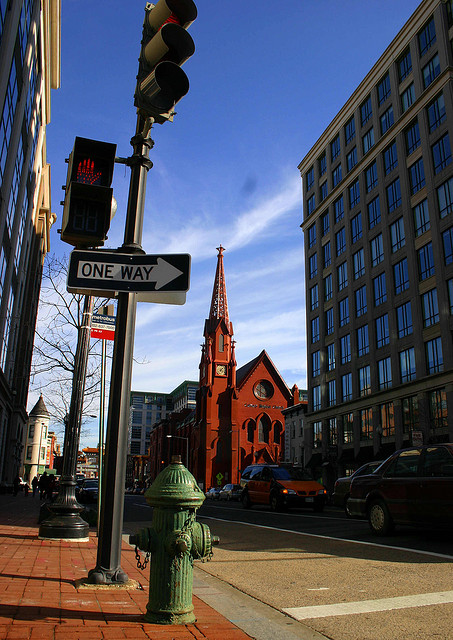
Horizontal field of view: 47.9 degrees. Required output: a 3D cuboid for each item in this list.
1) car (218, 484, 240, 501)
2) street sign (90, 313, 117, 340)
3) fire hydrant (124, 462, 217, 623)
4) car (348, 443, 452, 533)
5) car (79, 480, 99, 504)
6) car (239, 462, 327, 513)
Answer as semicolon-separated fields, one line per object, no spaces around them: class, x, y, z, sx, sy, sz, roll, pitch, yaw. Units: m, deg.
car;0.267;14.819;43.992;1.348;1.200;2.992;3;-17;-5
street sign;-1.659;0.096;6.862;0.380;0.465;0.047;10;-48;-22
fire hydrant;-0.353;1.563;3.651;0.598;1.079;0.635;3;-11;-11
car;3.132;3.151;9.391;1.006;0.971;2.565;19;-37;-22
car;-7.613;9.463;28.009;0.982;1.257;3.236;6;-17;-15
car;2.272;6.620;20.215;1.684;1.567;3.594;10;-32;-18
